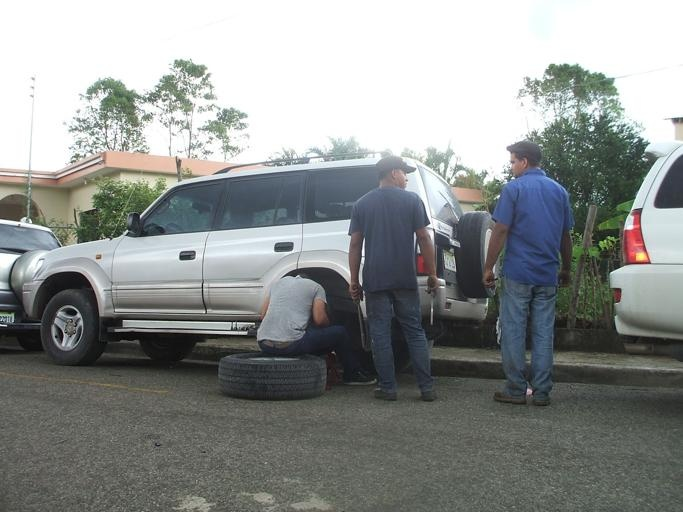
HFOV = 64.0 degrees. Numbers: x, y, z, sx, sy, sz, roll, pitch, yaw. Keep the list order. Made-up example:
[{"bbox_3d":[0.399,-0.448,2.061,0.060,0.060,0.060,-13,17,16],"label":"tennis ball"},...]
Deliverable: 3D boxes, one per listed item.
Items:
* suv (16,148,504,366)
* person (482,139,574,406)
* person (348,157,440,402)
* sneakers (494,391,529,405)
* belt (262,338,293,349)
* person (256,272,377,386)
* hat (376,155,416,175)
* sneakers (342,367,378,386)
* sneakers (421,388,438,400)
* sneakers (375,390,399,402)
[{"bbox_3d":[-1.052,0.057,7.128,5.533,2.365,2.662,2,-1,28],"label":"suv"},{"bbox_3d":[1.762,0.121,5.292,0.980,2.554,0.517,2,-2,-33],"label":"person"},{"bbox_3d":[0.503,0.359,5.324,0.851,2.087,0.250,0,-2,9],"label":"person"},{"bbox_3d":[1.617,1.321,5.237,0.289,0.135,0.118,9,7,40],"label":"sneakers"},{"bbox_3d":[-0.675,0.897,5.579,0.342,0.089,0.066,0,-2,13],"label":"belt"},{"bbox_3d":[-0.432,0.768,5.988,1.431,1.155,1.070,3,-4,26],"label":"person"},{"bbox_3d":[0.535,-0.896,5.519,0.311,0.144,0.203,2,5,-10],"label":"hat"},{"bbox_3d":[0.192,1.367,6.183,0.431,0.201,0.158,-1,-1,1],"label":"sneakers"},{"bbox_3d":[0.854,1.349,5.314,0.151,0.110,0.092,0,-2,-2],"label":"sneakers"},{"bbox_3d":[0.450,1.356,5.391,0.217,0.099,0.091,5,2,39],"label":"sneakers"}]
